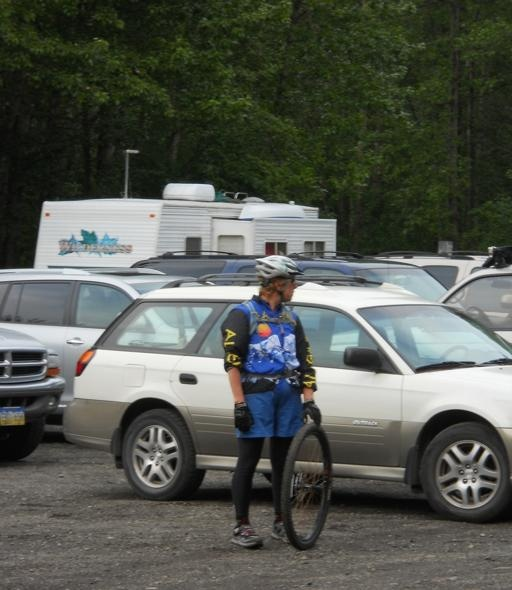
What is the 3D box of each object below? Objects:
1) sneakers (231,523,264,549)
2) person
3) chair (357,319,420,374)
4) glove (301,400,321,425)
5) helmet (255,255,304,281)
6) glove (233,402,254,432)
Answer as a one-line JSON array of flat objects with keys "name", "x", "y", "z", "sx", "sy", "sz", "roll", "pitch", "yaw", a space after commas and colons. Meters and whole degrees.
[{"name": "sneakers", "x": -0.052, "y": 1.296, "z": 3.950, "sx": 0.095, "sy": 0.078, "sz": 0.211, "roll": 2, "pitch": -3, "yaw": -42}, {"name": "person", "x": 0.069, "y": 0.573, "z": 3.956, "sx": 0.520, "sy": 1.562, "sz": 0.380, "roll": 2, "pitch": 5, "yaw": -8}, {"name": "chair", "x": 1.047, "y": 0.318, "z": 5.120, "sx": 0.372, "sy": 0.262, "sz": 0.362, "roll": -1, "pitch": 5, "yaw": -40}, {"name": "glove", "x": 0.305, "y": 0.632, "z": 3.903, "sx": 0.057, "sy": 0.117, "sz": 0.099, "roll": -25, "pitch": 7, "yaw": -12}, {"name": "helmet", "x": 0.110, "y": -0.151, "z": 3.990, "sx": 0.231, "sy": 0.087, "sz": 0.133, "roll": 0, "pitch": 3, "yaw": -4}, {"name": "glove", "x": -0.066, "y": 0.642, "z": 3.800, "sx": 0.094, "sy": 0.166, "sz": 0.086, "roll": 3, "pitch": 5, "yaw": 7}]
